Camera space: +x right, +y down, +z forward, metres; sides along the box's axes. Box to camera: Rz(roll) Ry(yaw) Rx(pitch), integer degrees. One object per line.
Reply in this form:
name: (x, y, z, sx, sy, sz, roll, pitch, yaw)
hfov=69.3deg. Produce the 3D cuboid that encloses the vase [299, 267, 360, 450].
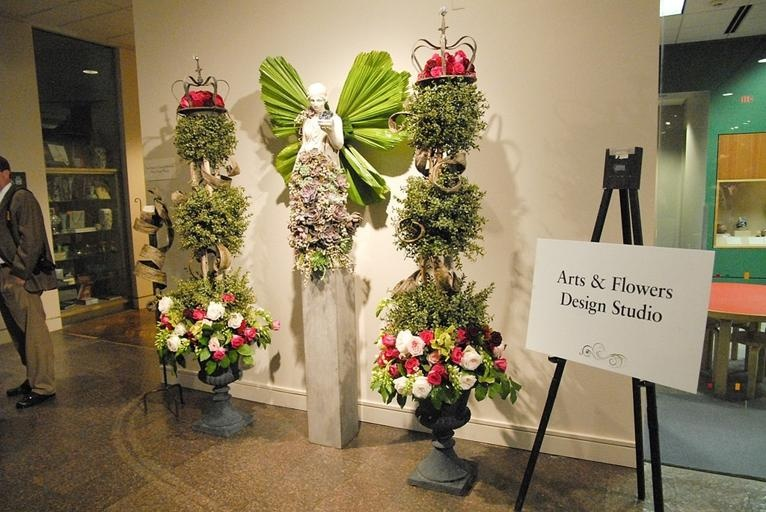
vase: (-0.378, 0.804, 4.491, 0.493, 1.426, 0.358, -3, 9, -25)

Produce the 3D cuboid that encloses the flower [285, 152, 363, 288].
flower: (-0.465, -0.308, 4.559, 0.612, 0.958, 0.349, 15, 7, 3)

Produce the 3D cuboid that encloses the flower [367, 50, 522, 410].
flower: (0.343, -0.137, 4.190, 1.195, 2.676, 1.154, 11, 16, 35)

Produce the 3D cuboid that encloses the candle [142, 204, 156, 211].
candle: (-2.149, -0.435, 5.016, 0.129, 0.040, 0.143, 14, 16, 33)

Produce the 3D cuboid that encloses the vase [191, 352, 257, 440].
vase: (-1.390, 1.197, 4.804, 0.590, 0.586, 0.589, -3, 0, -29)

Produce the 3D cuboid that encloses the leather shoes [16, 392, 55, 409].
leather shoes: (-3.209, 1.320, 5.188, 0.128, 0.145, 0.354, 15, 0, 26)

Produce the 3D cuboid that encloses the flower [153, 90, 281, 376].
flower: (-1.424, -0.112, 4.595, 0.906, 2.222, 0.624, -3, 9, -24)

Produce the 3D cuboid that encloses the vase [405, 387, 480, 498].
vase: (0.409, 1.351, 4.183, 0.635, 0.677, 0.617, 4, -7, 18)
